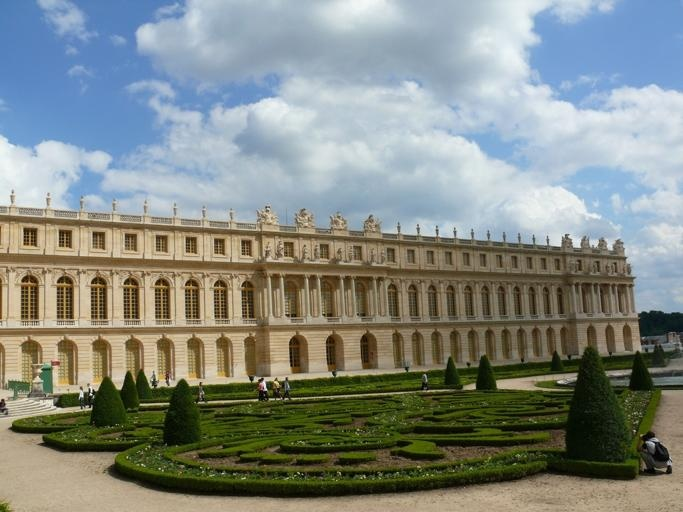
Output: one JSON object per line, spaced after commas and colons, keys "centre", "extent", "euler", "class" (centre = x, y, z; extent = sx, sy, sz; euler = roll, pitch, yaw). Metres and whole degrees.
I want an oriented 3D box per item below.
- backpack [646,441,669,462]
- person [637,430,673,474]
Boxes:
{"centre": [8.910, 5.455, 18.613], "extent": [0.418, 0.539, 0.581], "euler": [11, -18, -43], "class": "backpack"}
{"centre": [8.857, 5.629, 18.862], "extent": [0.651, 0.974, 0.966], "euler": [11, -34, 0], "class": "person"}
